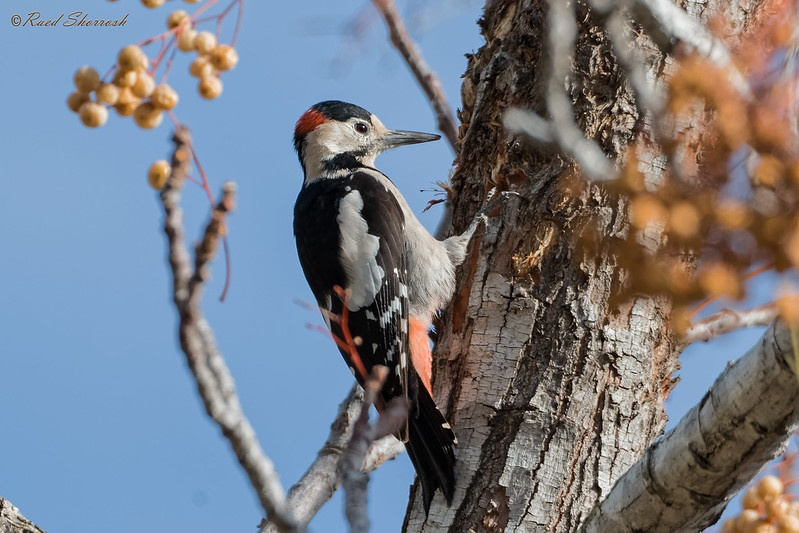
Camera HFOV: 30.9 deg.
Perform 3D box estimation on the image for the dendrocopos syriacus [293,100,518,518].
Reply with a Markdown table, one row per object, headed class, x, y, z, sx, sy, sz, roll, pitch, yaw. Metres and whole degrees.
| class | x | y | z | sx | sy | sz | roll | pitch | yaw |
| --- | --- | --- | --- | --- | --- | --- | --- | --- | --- |
| dendrocopos syriacus | 0.084 | 0.226 | 6.006 | 0.851 | 1.966 | 0.526 | -6 | -36 | -11 |
